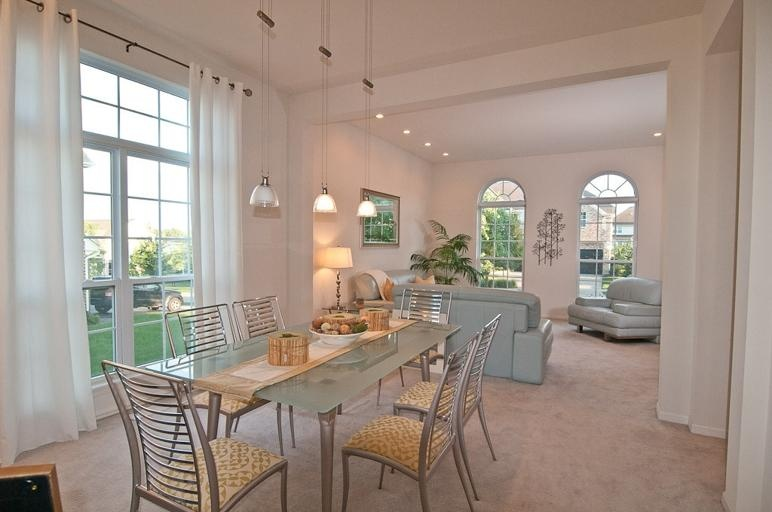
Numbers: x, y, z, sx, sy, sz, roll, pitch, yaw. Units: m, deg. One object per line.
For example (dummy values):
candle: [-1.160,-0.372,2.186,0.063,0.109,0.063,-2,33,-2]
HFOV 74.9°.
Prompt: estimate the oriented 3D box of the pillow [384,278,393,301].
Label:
pillow: [0.036,0.524,7.524,0.160,0.391,0.352,0,-1,6]

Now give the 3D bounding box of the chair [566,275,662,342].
chair: [3.664,0.851,8.083,0.840,0.954,1.415,2,1,-8]
